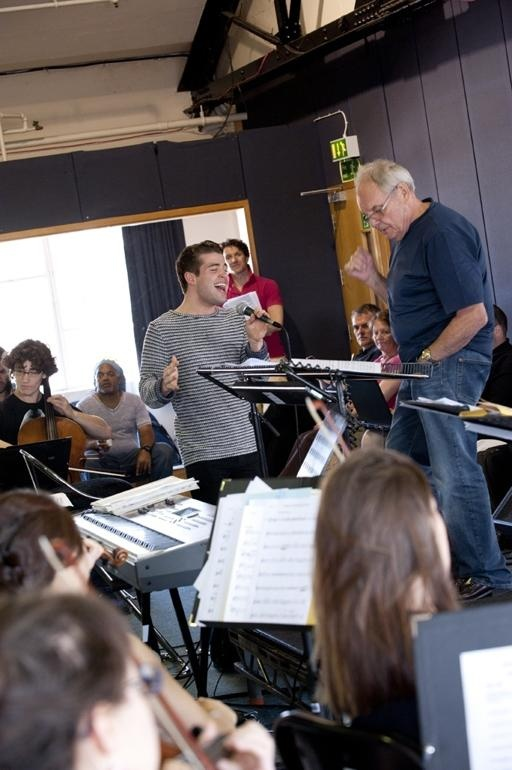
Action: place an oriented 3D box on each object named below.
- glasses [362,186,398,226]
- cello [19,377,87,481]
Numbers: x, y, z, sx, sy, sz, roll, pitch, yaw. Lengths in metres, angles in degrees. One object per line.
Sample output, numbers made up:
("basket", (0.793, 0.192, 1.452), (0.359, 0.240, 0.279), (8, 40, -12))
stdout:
("glasses", (0.513, -0.739, 2.512), (0.128, 0.039, 0.121), (-45, 6, -15))
("cello", (-1.426, 0.314, 4.338), (0.468, 0.839, 0.265), (-1, 0, -30))
